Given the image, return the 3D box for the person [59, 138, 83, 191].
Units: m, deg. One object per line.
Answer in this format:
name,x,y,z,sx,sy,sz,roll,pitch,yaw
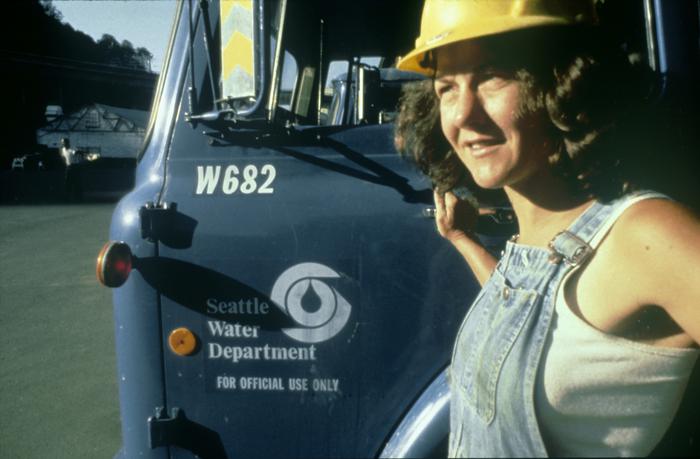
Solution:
person,-5.703,-1.326,18.528,0.247,1.310,0.287,-8,21,10
